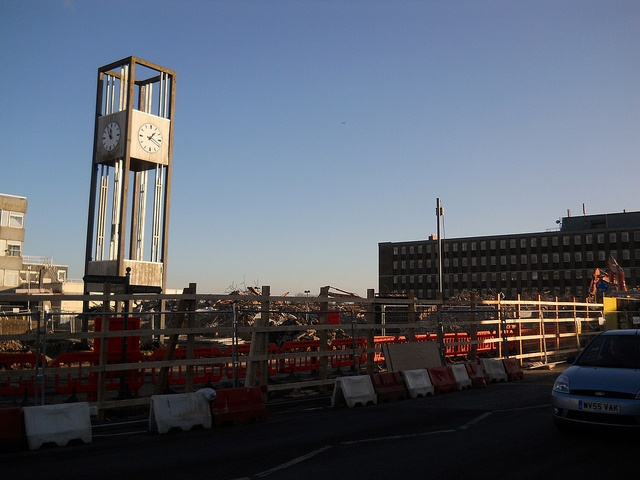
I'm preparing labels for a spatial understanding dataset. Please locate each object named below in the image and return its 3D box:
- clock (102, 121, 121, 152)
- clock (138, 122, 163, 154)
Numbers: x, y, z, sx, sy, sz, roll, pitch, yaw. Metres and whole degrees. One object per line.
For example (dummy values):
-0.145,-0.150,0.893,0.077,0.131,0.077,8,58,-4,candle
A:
-11.857,-5.857,32.837,1.535,1.795,0.166,-9,-10,36,clock
-9.839,-5.835,33.170,0.122,1.940,1.839,-4,-1,37,clock
